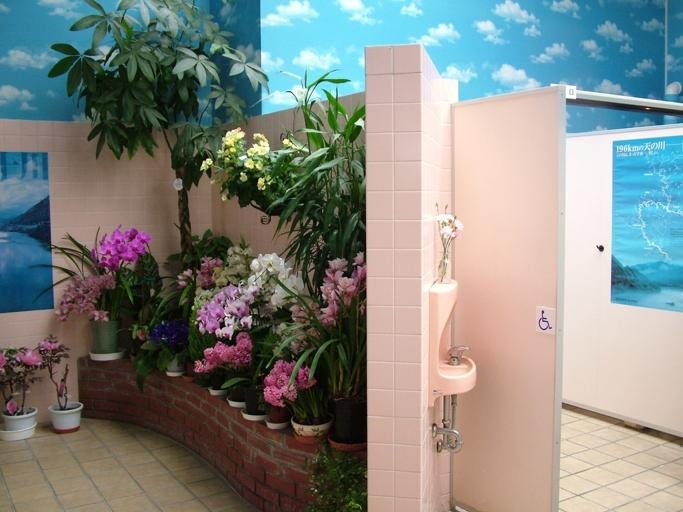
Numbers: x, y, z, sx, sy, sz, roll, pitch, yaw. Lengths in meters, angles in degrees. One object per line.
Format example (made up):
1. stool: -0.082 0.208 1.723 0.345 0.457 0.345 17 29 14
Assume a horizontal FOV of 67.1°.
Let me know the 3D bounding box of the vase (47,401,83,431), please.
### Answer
1. vase: -2.323 1.350 4.386 0.217 0.162 0.228 -1 -6 -8

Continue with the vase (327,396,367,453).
1. vase: 0.046 0.949 2.910 0.202 0.279 0.265 1 -9 -2

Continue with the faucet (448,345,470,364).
1. faucet: 0.678 0.573 2.994 0.061 0.126 0.224 2 -2 -13

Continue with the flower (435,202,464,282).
1. flower: 0.607 -0.054 2.978 0.153 0.376 0.154 5 22 30

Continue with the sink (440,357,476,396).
1. sink: 0.629 0.630 2.814 0.188 0.150 0.478 2 11 12
